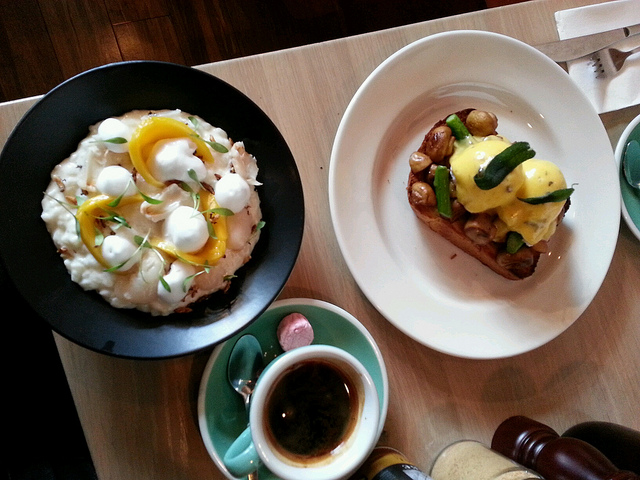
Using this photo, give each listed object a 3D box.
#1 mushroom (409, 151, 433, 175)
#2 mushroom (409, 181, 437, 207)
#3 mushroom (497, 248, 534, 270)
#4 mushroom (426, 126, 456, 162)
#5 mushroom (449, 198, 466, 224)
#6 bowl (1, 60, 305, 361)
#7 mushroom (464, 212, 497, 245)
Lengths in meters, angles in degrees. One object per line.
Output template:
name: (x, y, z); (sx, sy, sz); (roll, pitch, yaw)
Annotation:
mushroom: (0.292, -0.233, 1.720); (0.066, 0.039, 0.056); (-35, 73, -7)
mushroom: (0.304, -0.132, 1.710); (0.081, 0.041, 0.064); (15, 74, 8)
mushroom: (0.570, 0.057, 1.707); (0.086, 0.037, 0.058); (6, 95, 8)
mushroom: (0.349, -0.279, 1.709); (0.073, 0.036, 0.098); (-2, 90, 6)
mushroom: (0.401, -0.087, 1.717); (0.045, 0.035, 0.068); (-3, 72, 3)
bowl: (-0.412, -0.071, 1.489); (0.725, 0.289, 0.714); (-1, 73, 4)
mushroom: (0.470, -0.038, 1.705); (0.085, 0.043, 0.087); (32, 77, 13)
